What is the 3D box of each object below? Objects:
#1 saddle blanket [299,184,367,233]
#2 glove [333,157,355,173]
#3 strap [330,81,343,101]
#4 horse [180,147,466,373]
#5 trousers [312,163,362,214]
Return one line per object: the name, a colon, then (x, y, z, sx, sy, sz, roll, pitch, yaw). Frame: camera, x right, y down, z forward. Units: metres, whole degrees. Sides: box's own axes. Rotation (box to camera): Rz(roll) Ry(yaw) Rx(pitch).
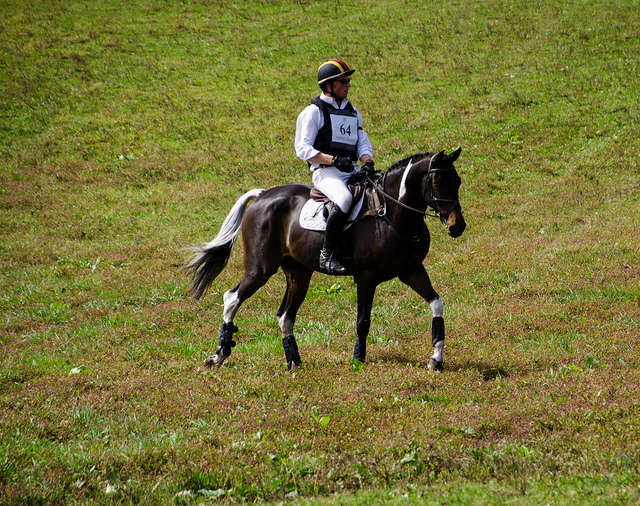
saddle blanket: (0.502, -1.228, 33.520, 1.578, 1.596, 1.872, -10, 20, -36)
glove: (0.736, -2.720, 33.140, 0.594, 0.472, 0.229, 0, 20, 1)
strap: (0.440, -5.054, 33.552, 0.357, 0.539, 0.126, -5, -1, -8)
horse: (0.028, 0.383, 34.369, 9.352, 6.933, 2.621, -1, 0, 23)
trousers: (0.438, -2.143, 33.302, 1.257, 1.676, 1.221, -11, 22, -35)
